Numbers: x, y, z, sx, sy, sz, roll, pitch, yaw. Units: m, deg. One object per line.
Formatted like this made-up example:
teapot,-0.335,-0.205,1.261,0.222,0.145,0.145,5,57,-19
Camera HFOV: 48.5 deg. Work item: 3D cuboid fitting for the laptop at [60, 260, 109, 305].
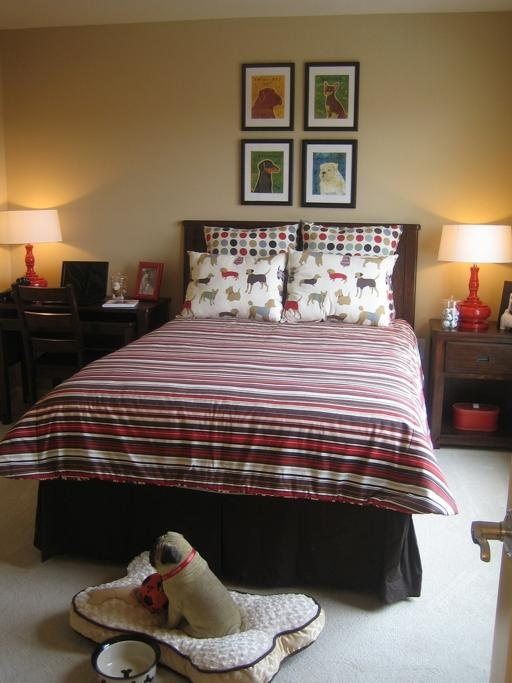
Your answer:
laptop,-1.198,-0.437,3.890,0.390,0.266,0.326,2,17,-3

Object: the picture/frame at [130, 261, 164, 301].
picture/frame,-0.741,-0.417,3.918,0.287,0.354,0.034,6,-5,17

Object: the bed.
bed,-0.085,0.249,2.320,1.270,0.968,1.535,4,19,13

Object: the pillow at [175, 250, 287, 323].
pillow,-0.116,-0.317,3.294,0.523,0.354,0.182,3,3,13

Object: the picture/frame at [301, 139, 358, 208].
picture/frame,0.478,-1.088,3.625,0.459,0.496,0.037,2,11,9

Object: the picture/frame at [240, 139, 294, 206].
picture/frame,0.081,-1.121,3.704,0.454,0.493,0.036,1,8,4

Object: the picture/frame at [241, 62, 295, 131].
picture/frame,0.086,-1.577,3.618,0.448,0.468,0.034,1,12,3
